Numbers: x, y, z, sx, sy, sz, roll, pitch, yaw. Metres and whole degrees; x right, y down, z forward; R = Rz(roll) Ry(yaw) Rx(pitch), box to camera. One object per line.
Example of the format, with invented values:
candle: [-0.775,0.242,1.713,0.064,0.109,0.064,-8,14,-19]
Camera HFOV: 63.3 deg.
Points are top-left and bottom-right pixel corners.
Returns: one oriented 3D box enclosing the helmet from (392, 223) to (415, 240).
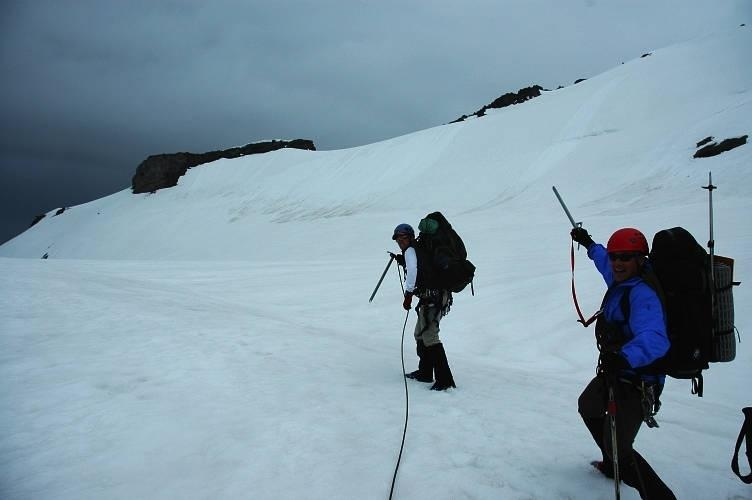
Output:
helmet: [0.466,-0.303,9.815,0.317,0.180,0.230,8,-16,-26]

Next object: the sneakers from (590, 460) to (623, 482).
sneakers: [2.968,2.852,7.909,0.104,0.126,0.307,7,21,-32]

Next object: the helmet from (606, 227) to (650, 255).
helmet: [3.168,-0.082,7.692,0.418,0.357,0.328,18,-11,3]

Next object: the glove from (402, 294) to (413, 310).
glove: [0.528,0.812,9.587,0.113,0.296,0.260,1,12,2]

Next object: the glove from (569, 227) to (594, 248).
glove: [2.889,-0.163,8.560,0.250,0.332,0.137,-40,-8,-32]
